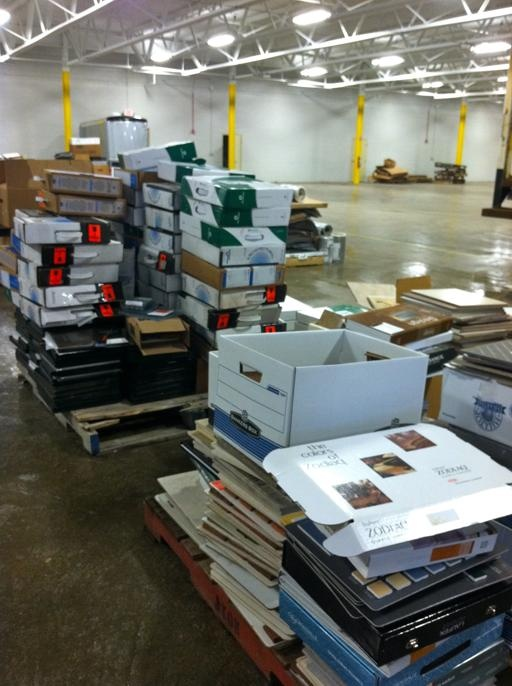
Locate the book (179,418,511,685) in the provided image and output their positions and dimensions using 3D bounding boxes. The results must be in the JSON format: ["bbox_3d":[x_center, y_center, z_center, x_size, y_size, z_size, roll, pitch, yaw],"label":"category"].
[{"bbox_3d":[0.122,0.528,1.349,0.674,0.155,0.660,-2,23,-38],"label":"book"}]
